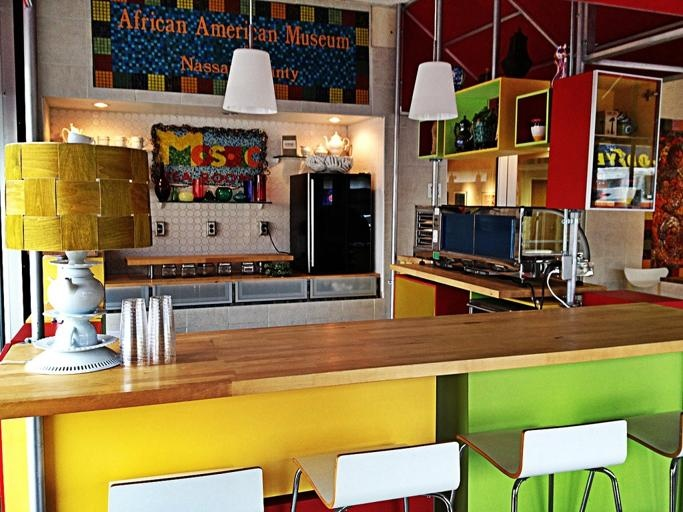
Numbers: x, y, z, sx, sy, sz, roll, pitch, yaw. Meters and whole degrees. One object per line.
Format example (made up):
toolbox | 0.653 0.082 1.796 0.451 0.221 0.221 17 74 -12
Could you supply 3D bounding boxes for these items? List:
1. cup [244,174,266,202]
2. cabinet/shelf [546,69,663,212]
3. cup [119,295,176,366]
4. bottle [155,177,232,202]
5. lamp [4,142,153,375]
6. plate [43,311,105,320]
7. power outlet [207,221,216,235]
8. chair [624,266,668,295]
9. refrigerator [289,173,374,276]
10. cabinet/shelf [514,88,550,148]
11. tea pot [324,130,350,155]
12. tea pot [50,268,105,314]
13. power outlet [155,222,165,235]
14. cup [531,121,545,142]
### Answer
cup | -0.931 -0.722 6.835 0.222 0.298 0.194 -2 6 -13
cabinet/shelf | 1.736 -0.746 4.195 0.674 0.884 0.289 2 7 17
cup | -0.844 0.306 2.803 0.272 0.313 0.272 0 3 0
bottle | -1.540 -0.691 6.683 0.790 0.253 0.327 -1 6 -9
lamp | -1.085 0.006 2.635 0.568 0.932 0.304 -2 7 -19
plate | -1.164 0.252 2.740 0.175 0.043 0.178 1 2 3
power outlet | -1.384 -0.288 6.805 0.103 0.165 0.050 -2 7 -14
chair | 2.745 0.178 5.705 0.308 0.377 0.259 -1 2 -7
refrigerator | -0.102 -0.350 6.998 0.984 1.068 1.013 1 3 31
cabinet/shelf | 1.340 -1.014 4.629 0.437 0.421 0.140 -7 8 -42
tea pot | -0.015 -1.247 7.083 0.347 0.306 0.252 2 5 10
tea pot | -1.126 0.140 2.701 0.199 0.199 0.231 10 10 33
power outlet | -1.883 -0.279 6.613 0.098 0.165 0.123 0 7 -9
cup | 1.469 -0.921 4.710 0.119 0.150 0.138 -2 3 -25
